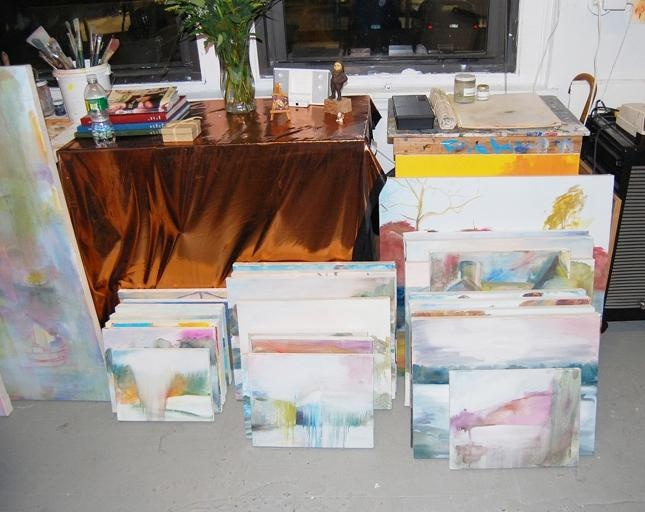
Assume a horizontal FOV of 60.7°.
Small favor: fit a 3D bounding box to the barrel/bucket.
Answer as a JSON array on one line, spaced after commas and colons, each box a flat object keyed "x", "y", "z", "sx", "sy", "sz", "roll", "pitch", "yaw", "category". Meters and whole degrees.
[{"x": -1.070, "y": -0.739, "z": 2.533, "sx": 0.257, "sy": 0.254, "sz": 0.279, "roll": -1, "pitch": 15, "yaw": 0, "category": "barrel/bucket"}]

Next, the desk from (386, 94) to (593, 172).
[{"x": 0.668, "y": -0.517, "z": 2.337, "sx": 0.782, "sy": 0.248, "sz": 0.424, "roll": 0, "pitch": 31, "yaw": 4, "category": "desk"}]

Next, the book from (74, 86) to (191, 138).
[{"x": -0.789, "y": -0.596, "z": 2.270, "sx": 0.298, "sy": 0.077, "sz": 0.319, "roll": 1, "pitch": 32, "yaw": 3, "category": "book"}]

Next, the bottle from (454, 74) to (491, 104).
[{"x": 0.640, "y": -0.745, "z": 2.452, "sx": 0.172, "sy": 0.131, "sz": 0.101, "roll": -1, "pitch": 28, "yaw": 2, "category": "bottle"}]
